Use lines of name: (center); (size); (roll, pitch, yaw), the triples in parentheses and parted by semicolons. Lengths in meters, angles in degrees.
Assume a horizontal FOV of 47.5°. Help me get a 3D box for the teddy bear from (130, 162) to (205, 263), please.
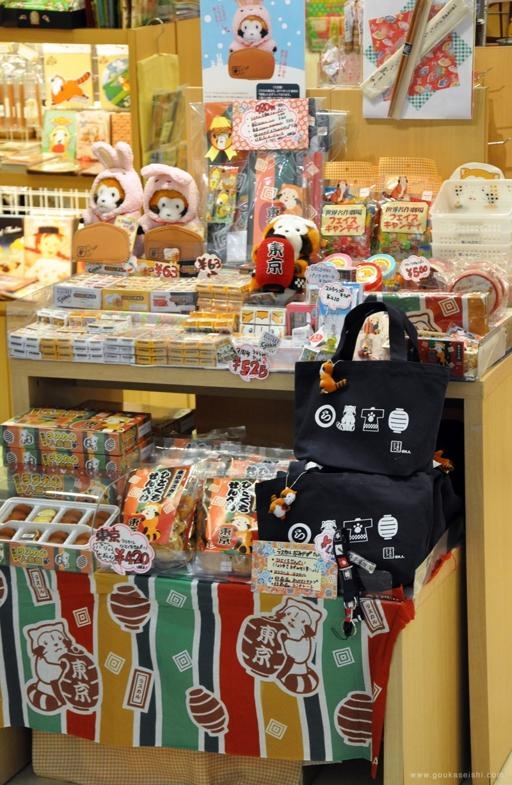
teddy bear: (-0.270, -0.552, 1.831); (0.210, 0.293, 0.203); (-13, 33, -28)

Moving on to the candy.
candy: (0.326, -0.432, 1.610); (0.290, 0.167, 0.204); (3, 8, 6)

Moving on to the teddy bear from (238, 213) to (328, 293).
teddy bear: (0.064, -0.336, 1.428); (0.137, 0.235, 0.232); (6, 15, 27)

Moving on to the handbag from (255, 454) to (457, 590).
handbag: (0.160, 0.189, 0.948); (0.207, 0.109, 0.216); (5, 10, 25)

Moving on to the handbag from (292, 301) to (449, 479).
handbag: (0.199, 0.000, 0.992); (0.312, 0.345, 0.134); (3, 0, 40)
